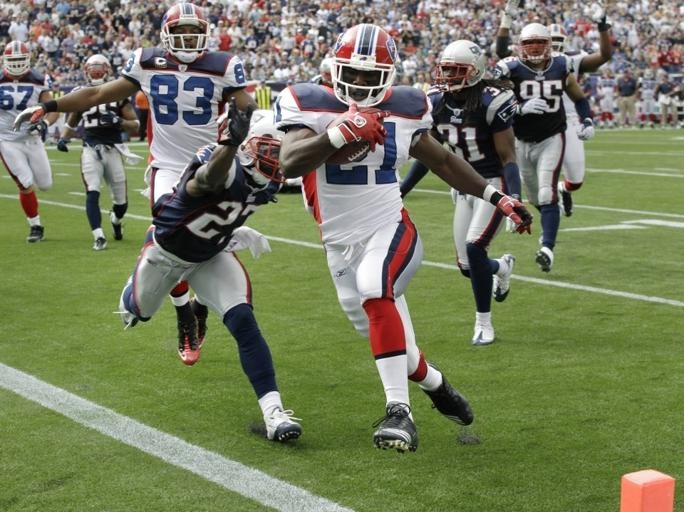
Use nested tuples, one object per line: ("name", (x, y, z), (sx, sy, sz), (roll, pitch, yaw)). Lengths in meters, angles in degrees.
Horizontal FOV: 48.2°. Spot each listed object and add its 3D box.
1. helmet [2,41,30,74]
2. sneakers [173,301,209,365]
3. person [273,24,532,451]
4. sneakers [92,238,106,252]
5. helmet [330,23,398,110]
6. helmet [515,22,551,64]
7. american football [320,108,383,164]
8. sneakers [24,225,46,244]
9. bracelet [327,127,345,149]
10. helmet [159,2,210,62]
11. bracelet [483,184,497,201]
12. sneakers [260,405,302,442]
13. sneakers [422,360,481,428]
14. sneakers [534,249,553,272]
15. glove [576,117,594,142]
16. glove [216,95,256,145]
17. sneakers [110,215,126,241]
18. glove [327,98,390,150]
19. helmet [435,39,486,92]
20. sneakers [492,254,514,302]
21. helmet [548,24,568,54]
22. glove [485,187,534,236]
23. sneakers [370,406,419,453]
("helmet", (-3.719, -2.261, 8.736), (0.319, 0.346, 0.417), (-5, 11, -21))
("sneakers", (-0.971, 0.474, 4.886), (0.159, 0.452, 0.203), (-7, -6, -2))
("person", (0.229, -0.100, 3.732), (1.074, 2.027, 0.786), (-2, 14, -5))
("sneakers", (-2.579, -0.129, 8.154), (0.100, 0.152, 0.159), (-2, -12, 11))
("helmet", (0.108, -0.934, 3.817), (0.346, 0.342, 0.422), (5, 48, 1))
("helmet", (1.810, -2.013, 7.199), (0.298, 0.326, 0.397), (0, 13, 10))
("american football", (0.041, -0.571, 3.577), (0.238, 0.254, 0.109), (22, 7, -16))
("sneakers", (-3.484, -0.251, 8.650), (0.247, 0.284, 0.664), (0, 2, -22))
("bracelet", (-0.029, -0.546, 3.516), (0.067, 0.073, 0.094), (-35, 1, 6))
("helmet", (-1.068, -1.523, 5.217), (0.320, 0.341, 0.417), (-1, 8, -11))
("bracelet", (0.773, -0.345, 3.987), (0.070, 0.081, 0.066), (6, 50, 3))
("sneakers", (-0.303, 0.846, 3.813), (0.107, 0.131, 0.260), (-22, -1, -30))
("sneakers", (0.547, 0.736, 3.936), (0.151, 0.414, 0.166), (-42, -1, 21))
("sneakers", (1.751, 0.057, 6.671), (0.096, 0.279, 0.147), (17, 60, 35))
("glove", (2.504, -1.327, 8.061), (0.248, 0.235, 0.113), (23, -49, -39))
("glove", (-0.522, -0.647, 3.659), (0.148, 0.187, 0.299), (-32, 13, -7))
("sneakers", (-2.515, -0.306, 8.555), (0.112, 0.139, 0.314), (3, -20, -12))
("glove", (0.071, -0.599, 3.479), (0.252, 0.192, 0.097), (-28, -3, -6))
("helmet", (0.869, -1.378, 5.348), (0.385, 0.273, 0.292), (-36, 47, -27))
("sneakers", (1.255, 0.170, 5.934), (0.146, 0.409, 0.187), (19, 34, 35))
("helmet", (2.226, -2.266, 7.926), (0.252, 0.264, 0.321), (1, 20, 12))
("glove", (0.869, -0.239, 3.991), (0.287, 0.184, 0.136), (34, 21, 34))
("sneakers", (0.242, 0.797, 3.569), (0.199, 0.190, 0.231), (-1, 14, 1))
